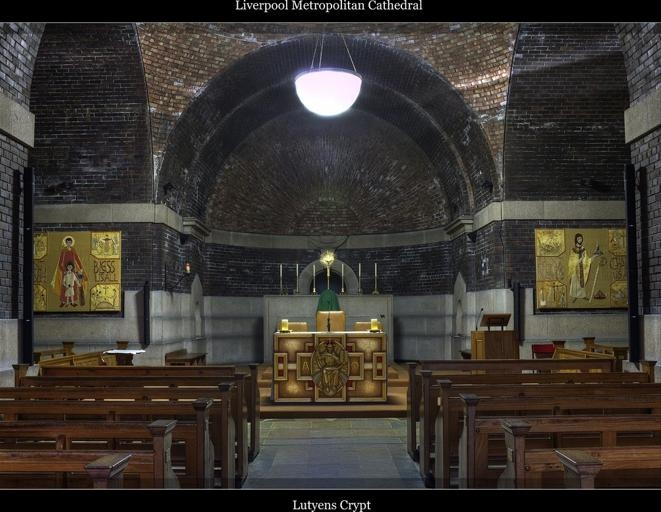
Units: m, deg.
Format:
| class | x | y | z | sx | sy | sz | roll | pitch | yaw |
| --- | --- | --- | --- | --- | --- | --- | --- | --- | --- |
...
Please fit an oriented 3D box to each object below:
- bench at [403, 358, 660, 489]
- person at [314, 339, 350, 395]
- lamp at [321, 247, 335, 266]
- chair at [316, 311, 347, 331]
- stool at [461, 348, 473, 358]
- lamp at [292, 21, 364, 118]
| class | x | y | z | sx | sy | sz | roll | pitch | yaw |
| --- | --- | --- | --- | --- | --- | --- | --- | --- | --- |
| bench | 2.575 | 2.186 | 10.338 | 3.624 | 1.484 | 2.985 | 1 | 0 | -20 |
| person | 0.005 | 2.040 | 12.767 | 0.655 | 0.825 | 0.203 | 1 | 0 | -3 |
| lamp | -0.048 | -0.003 | 21.047 | 0.476 | 0.574 | 0.469 | 4 | -6 | -7 |
| chair | 0.015 | 1.240 | 13.655 | 0.528 | 0.518 | 0.391 | -1 | -12 | 6 |
| stool | 3.121 | 2.227 | 16.235 | 0.330 | 0.181 | 0.334 | -1 | -5 | 12 |
| lamp | 0.156 | -3.740 | 14.255 | 1.015 | 1.340 | 1.004 | 10 | -10 | -10 |
